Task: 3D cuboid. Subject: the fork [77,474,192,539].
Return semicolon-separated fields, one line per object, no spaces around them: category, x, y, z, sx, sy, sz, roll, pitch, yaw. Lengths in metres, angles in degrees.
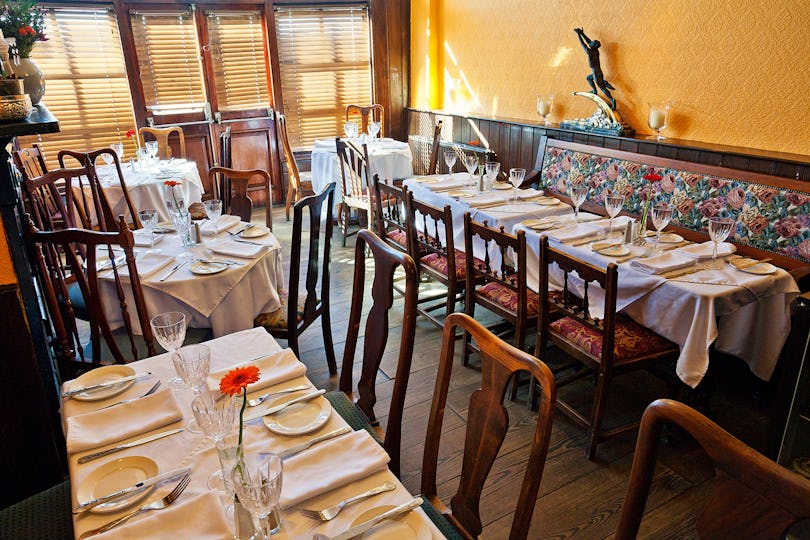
fork;-0.887;0.790;1.791;0.285;0.042;0.048;-23;50;-13

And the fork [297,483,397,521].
fork;-0.198;0.774;1.798;0.246;0.045;0.042;-10;37;-23

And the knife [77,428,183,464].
knife;-1.005;0.645;1.977;0.308;0.015;0.043;-12;38;-26

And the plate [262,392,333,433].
plate;-0.397;0.562;2.051;0.251;0.053;0.143;-15;24;-23

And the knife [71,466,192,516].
knife;-0.922;0.755;1.841;0.388;0.041;0.053;-16;46;-18

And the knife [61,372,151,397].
knife;-1.205;0.471;2.220;0.375;0.036;0.054;-7;23;-19
